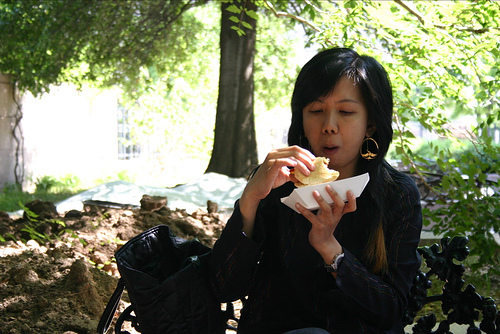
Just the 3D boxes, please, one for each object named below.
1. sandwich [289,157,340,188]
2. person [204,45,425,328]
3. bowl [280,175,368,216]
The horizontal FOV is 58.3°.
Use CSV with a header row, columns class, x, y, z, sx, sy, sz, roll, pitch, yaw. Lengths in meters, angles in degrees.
class,x,y,z,sx,sy,sz,roll,pitch,yaw
sandwich,0.454,0.072,3.263,0.399,0.162,0.406,0,-9,-27
person,0.524,0.136,3.270,1.418,2.107,0.743,0,-4,15
bowl,0.521,0.176,2.988,0.382,0.103,0.285,-17,-10,-25
